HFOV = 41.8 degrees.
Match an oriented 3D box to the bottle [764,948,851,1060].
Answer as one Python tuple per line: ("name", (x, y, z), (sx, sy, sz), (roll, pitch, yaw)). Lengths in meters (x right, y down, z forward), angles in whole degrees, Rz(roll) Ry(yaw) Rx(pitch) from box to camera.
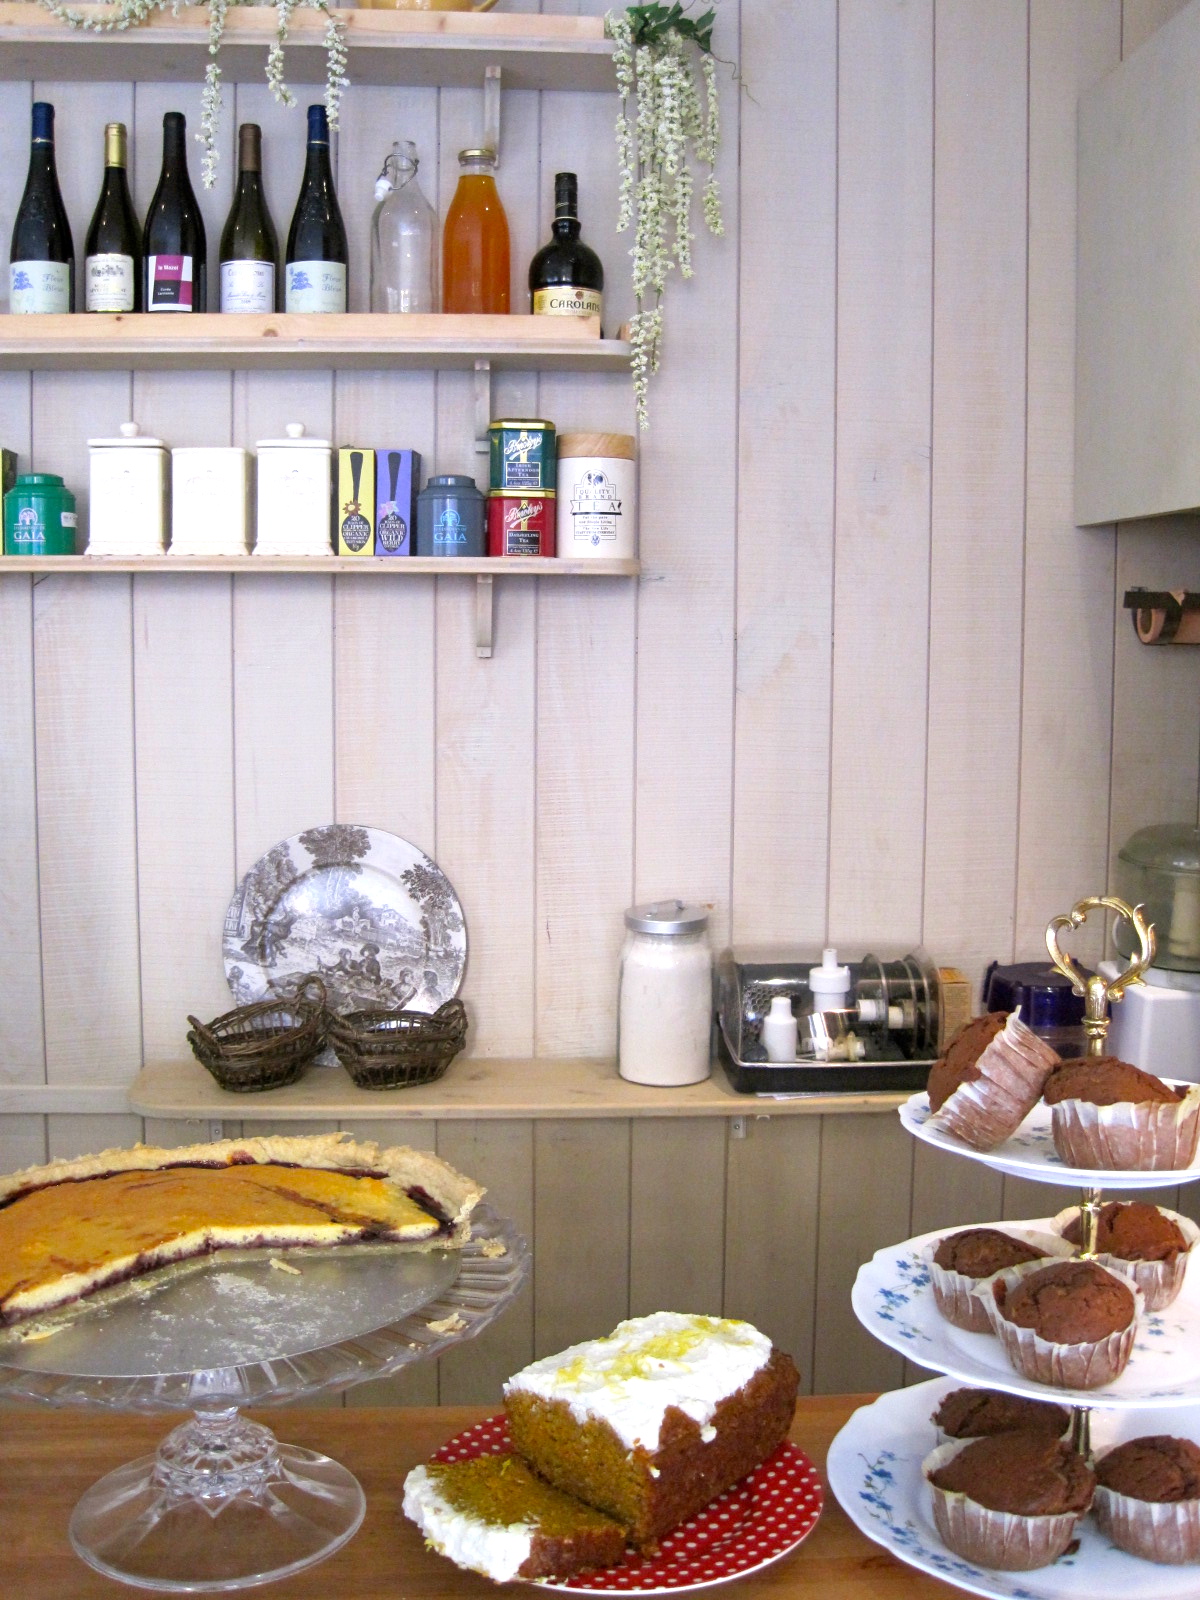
("bottle", (0.275, 0.282, 2.113), (0.144, 0.178, 0.071), (1, -2, 0))

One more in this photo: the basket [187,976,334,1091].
("basket", (-0.460, 0.321, 2.134), (0.124, 0.084, 0.164), (-3, 0, -3))

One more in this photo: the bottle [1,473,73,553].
("bottle", (-0.742, -0.373, 2.077), (0.102, 0.108, 0.102), (3, 4, 32))

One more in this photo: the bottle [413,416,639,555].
("bottle", (-0.102, -0.411, 2.074), (0.215, 0.122, 0.079), (1, 11, -1))

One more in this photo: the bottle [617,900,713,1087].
("bottle", (0.092, 0.271, 2.163), (0.147, 0.246, 0.121), (6, 6, -9))

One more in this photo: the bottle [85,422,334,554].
("bottle", (-0.522, -0.406, 2.075), (0.215, 0.112, 0.073), (0, 1, -2))

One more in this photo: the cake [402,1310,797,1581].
("cake", (0.012, 0.388, 1.027), (0.127, 0.069, 0.217), (7, 15, 39))

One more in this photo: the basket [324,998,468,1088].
("basket", (-0.274, 0.328, 2.126), (0.156, 0.080, 0.117), (2, -3, -11))
